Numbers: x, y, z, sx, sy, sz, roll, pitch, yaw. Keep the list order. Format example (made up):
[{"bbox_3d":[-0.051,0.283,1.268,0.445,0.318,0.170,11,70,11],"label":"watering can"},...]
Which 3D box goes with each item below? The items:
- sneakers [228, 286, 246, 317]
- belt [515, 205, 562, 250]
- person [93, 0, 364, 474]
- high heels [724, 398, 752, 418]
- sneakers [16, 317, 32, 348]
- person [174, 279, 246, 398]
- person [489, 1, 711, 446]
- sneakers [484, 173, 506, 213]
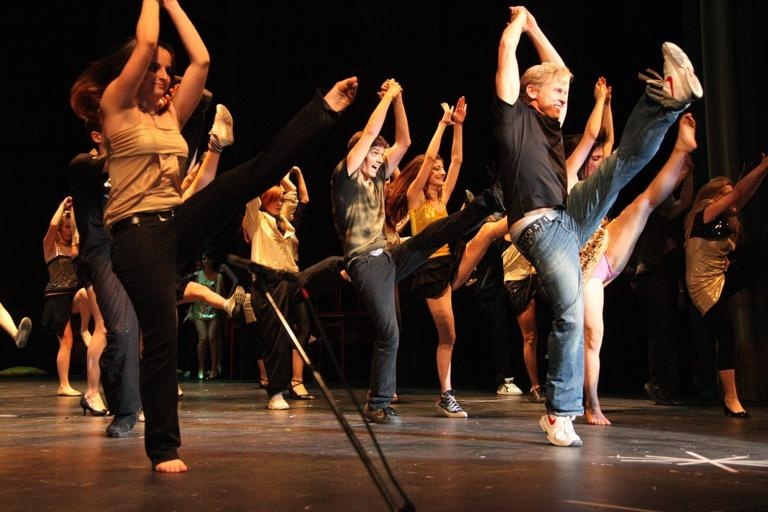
[{"bbox_3d":[-1.130,0.354,5.864,0.093,0.121,0.278,17,-41,-29],"label":"sneakers"},{"bbox_3d":[0.924,-0.180,4.648,0.246,0.077,0.188,-33,-17,35],"label":"belt"},{"bbox_3d":[-1.022,-0.141,4.176,1.050,2.568,0.622,3,-11,-22],"label":"person"},{"bbox_3d":[2.712,1.175,5.869,0.187,0.142,0.226,-5,-11,19],"label":"high heels"},{"bbox_3d":[-3.378,0.704,7.156,0.119,0.251,0.357,4,-12,-26],"label":"sneakers"},{"bbox_3d":[-1.412,0.555,6.226,0.669,0.917,0.325,-1,27,-22],"label":"person"},{"bbox_3d":[1.226,-0.227,4.660,1.023,2.707,0.479,-3,-10,8],"label":"person"},{"bbox_3d":[0.730,-0.424,5.176,0.109,0.257,0.188,-2,12,30],"label":"sneakers"}]
